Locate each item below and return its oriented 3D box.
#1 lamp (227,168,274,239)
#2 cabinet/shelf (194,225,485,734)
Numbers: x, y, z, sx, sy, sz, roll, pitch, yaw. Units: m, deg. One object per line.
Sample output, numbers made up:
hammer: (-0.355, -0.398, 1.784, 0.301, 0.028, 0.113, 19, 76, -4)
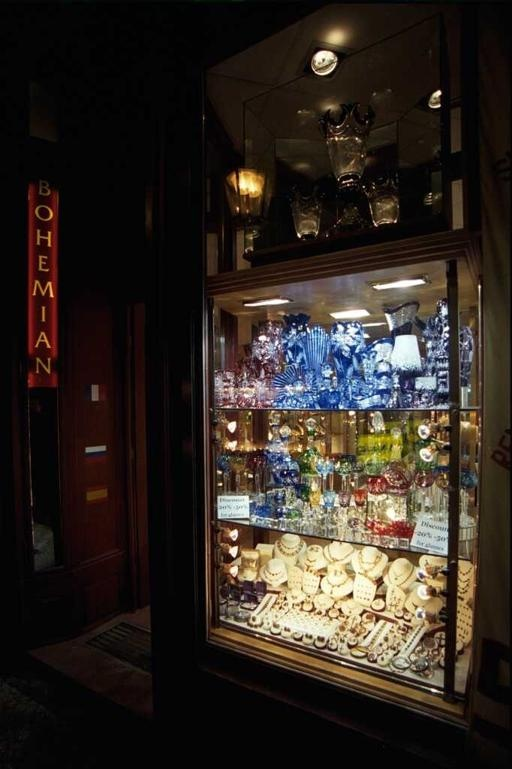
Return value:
lamp: (-0.016, -0.694, 2.365, 0.149, 0.311, 0.193, 3, -34, -5)
cabinet/shelf: (0.302, 0.322, 2.326, 0.891, 1.652, 0.500, 1, 5, 22)
